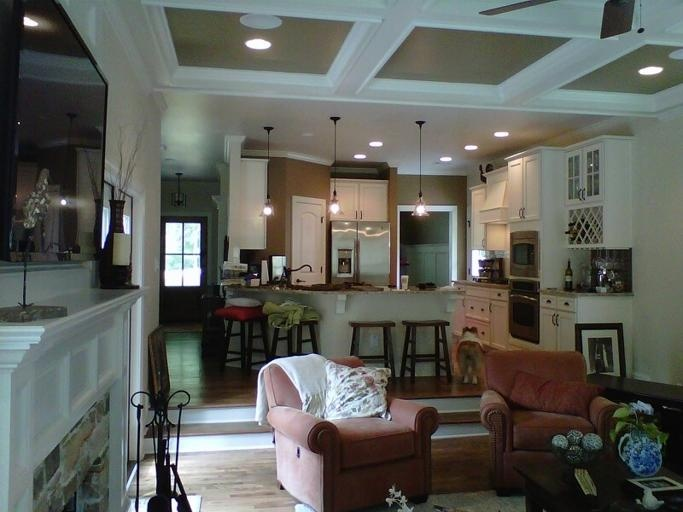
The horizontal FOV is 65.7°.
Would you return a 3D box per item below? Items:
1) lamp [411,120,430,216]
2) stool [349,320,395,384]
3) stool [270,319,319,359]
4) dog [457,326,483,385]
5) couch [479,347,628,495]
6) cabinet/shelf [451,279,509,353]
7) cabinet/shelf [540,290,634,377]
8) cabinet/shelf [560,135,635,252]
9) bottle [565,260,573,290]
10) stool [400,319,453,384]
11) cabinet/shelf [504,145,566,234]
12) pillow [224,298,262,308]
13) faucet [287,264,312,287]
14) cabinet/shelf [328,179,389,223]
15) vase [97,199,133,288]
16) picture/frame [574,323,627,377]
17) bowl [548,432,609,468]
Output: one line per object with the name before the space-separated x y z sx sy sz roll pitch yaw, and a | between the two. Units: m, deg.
lamp | 1.096 -1.225 7.433 0.210 1.297 0.219 3 8 29
stool | 0.336 1.047 6.019 0.602 0.691 0.630 0 3 31
stool | -0.555 0.936 6.247 0.505 0.718 0.488 4 -5 -20
dog | 1.393 1.090 5.792 0.246 0.633 0.315 0 -1 13
couch | 1.632 1.282 4.431 0.988 1.033 0.997 -1 -8 6
cabinet/shelf | 2.306 0.888 8.394 0.472 0.951 1.493 -2 3 -22
cabinet/shelf | 2.897 0.914 6.499 0.616 0.923 0.939 1 -1 -5
cabinet/shelf | 2.978 -0.708 6.377 0.349 1.197 0.729 5 -3 -22
bottle | 2.847 0.227 6.663 0.105 0.390 0.480 -1 -2 23
stool | 0.961 1.074 6.085 0.611 0.925 0.646 1 -9 -5
cabinet/shelf | 2.578 -0.768 7.118 0.394 1.200 0.813 1 0 -17
pillow | -1.174 0.544 6.221 0.423 0.102 0.306 -1 -2 33
faucet | -0.651 0.288 8.023 0.319 0.442 0.282 0 -1 14
cabinet/shelf | 0.273 -0.871 9.120 0.968 0.729 0.383 1 -14 -2
vase | -1.489 -0.085 3.468 0.186 0.587 0.370 1 -2 -25
picture/frame | 2.870 1.092 5.874 0.555 0.677 0.043 -1 -6 -7
bowl | 1.515 1.233 3.399 0.315 0.212 0.307 -8 -6 -1
